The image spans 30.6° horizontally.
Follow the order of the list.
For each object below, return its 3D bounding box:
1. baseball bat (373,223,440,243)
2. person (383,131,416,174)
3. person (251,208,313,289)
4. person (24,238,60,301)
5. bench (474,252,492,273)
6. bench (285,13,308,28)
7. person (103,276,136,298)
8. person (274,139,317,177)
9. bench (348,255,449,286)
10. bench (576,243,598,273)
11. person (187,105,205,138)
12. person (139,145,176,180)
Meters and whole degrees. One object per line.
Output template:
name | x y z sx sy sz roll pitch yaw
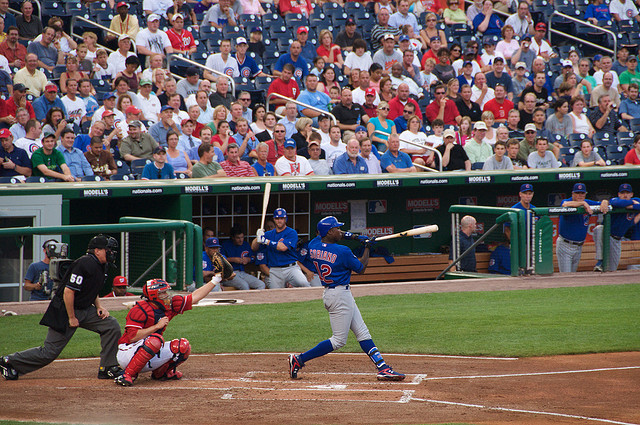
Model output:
baseball bat | 1.958 0.486 28.158 1.566 0.174 0.167 -11 -49 -3
person | 1.978 -1.512 29.360 0.752 1.061 0.549 3 -5 -24
person | -1.018 0.924 28.115 1.489 2.588 0.951 -7 -28 -6
person | -5.918 1.179 24.726 0.642 1.377 1.717 2 -5 -14
bench | 3.934 1.211 28.586 0.622 0.575 0.428 0 -2 11
bench | -0.726 -5.689 34.527 0.533 0.433 0.515 0 11 -2
person | -4.477 1.656 25.702 0.598 0.469 0.931 5 -7 -20
person | -0.598 -1.272 28.489 0.930 0.877 0.611 3 -5 -22
bench | 1.831 1.458 30.045 0.681 0.904 3.917 29 16 33
bench | 6.485 1.100 28.685 0.652 0.647 0.378 -8 -14 44
person | -3.056 -2.243 28.704 0.373 0.799 0.713 1 -5 -6
person | -3.891 -1.171 27.622 0.886 1.186 0.403 -1 2 -28
